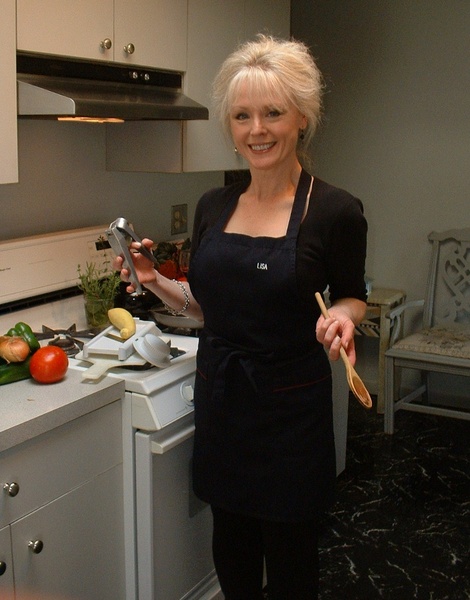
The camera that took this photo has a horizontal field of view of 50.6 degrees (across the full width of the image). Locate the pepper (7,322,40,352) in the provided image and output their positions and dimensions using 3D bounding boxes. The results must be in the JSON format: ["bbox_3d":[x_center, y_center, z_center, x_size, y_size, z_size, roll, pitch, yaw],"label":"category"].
[{"bbox_3d":[-0.467,0.078,1.135,0.073,0.055,0.034,46,9,14],"label":"pepper"}]

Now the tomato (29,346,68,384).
[{"bbox_3d":[-0.402,0.136,1.059,0.087,0.080,0.076,0,-15,20],"label":"tomato"}]
